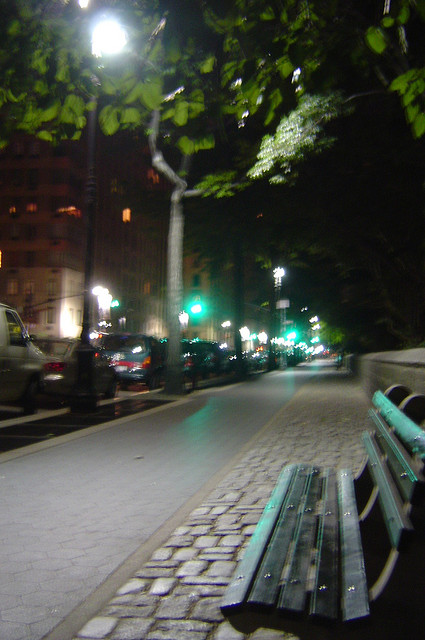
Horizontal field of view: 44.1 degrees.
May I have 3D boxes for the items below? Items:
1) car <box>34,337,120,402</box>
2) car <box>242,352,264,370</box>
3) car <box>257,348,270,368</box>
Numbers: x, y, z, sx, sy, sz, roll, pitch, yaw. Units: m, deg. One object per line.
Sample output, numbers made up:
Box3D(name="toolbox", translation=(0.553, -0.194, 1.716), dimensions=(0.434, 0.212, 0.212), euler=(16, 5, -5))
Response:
Box3D(name="car", translation=(-3.394, 1.331, 13.863), dimensions=(1.269, 1.020, 3.133), euler=(0, -2, 9))
Box3D(name="car", translation=(3.970, 3.876, 48.704), dimensions=(2.266, 1.239, 2.196), euler=(2, -4, -2))
Box3D(name="car", translation=(5.647, 4.259, 57.488), dimensions=(2.305, 1.995, 2.279), euler=(1, -11, 4))
